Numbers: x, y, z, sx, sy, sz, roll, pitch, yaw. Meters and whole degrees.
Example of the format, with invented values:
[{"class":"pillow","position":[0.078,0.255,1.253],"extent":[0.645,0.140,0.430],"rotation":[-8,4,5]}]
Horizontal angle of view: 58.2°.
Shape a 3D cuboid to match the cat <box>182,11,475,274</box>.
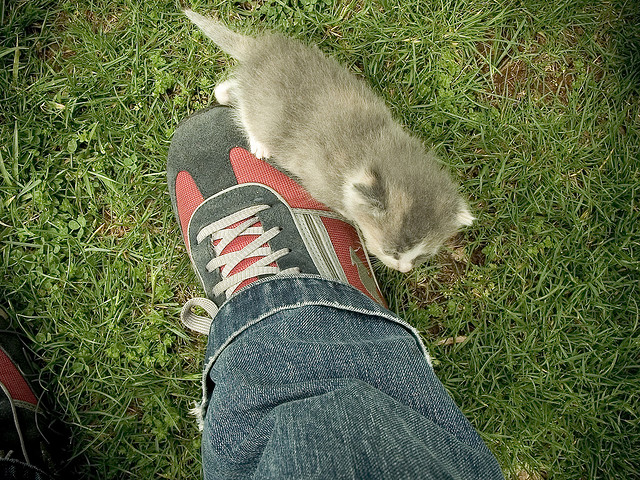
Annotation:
[{"class":"cat","position":[0.016,-0.544,3.339],"extent":[1.601,0.722,0.575],"rotation":[43,83,-13]}]
